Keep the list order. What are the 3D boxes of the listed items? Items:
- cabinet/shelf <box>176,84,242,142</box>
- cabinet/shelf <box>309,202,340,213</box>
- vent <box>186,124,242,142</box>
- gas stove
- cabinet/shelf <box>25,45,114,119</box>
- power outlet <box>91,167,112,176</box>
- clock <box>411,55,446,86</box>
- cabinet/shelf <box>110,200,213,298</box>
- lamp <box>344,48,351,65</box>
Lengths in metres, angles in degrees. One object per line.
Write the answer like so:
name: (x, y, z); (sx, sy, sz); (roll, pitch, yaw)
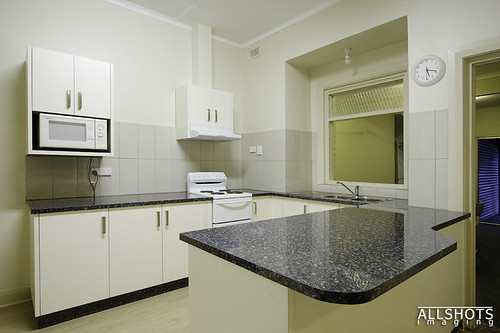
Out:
cabinet/shelf: (-0.604, -0.726, 4.790); (0.578, 0.666, 0.777); (-3, -1, 43)
cabinet/shelf: (0.867, 0.466, 3.928); (0.103, 0.113, 0.170); (-2, 3, -35)
vent: (-0.503, -0.468, 4.686); (0.695, 0.243, 0.438); (-3, 8, -21)
gas stove: (-0.416, 0.243, 4.587); (0.709, 0.242, 0.747); (1, 4, -32)
cabinet/shelf: (-1.994, -0.949, 3.779); (0.831, 0.724, 0.314); (-4, 30, -24)
power outlet: (-1.791, 0.063, 4.155); (0.232, 0.113, 0.018); (-6, 9, -36)
clock: (1.896, -1.030, 3.600); (0.059, 0.351, 0.347); (4, -7, -42)
cabinet/shelf: (-0.990, 0.880, 3.553); (1.086, 0.900, 0.411); (0, -2, -38)
lamp: (1.312, -1.487, 4.586); (0.081, 0.180, 0.339); (2, 8, 15)
